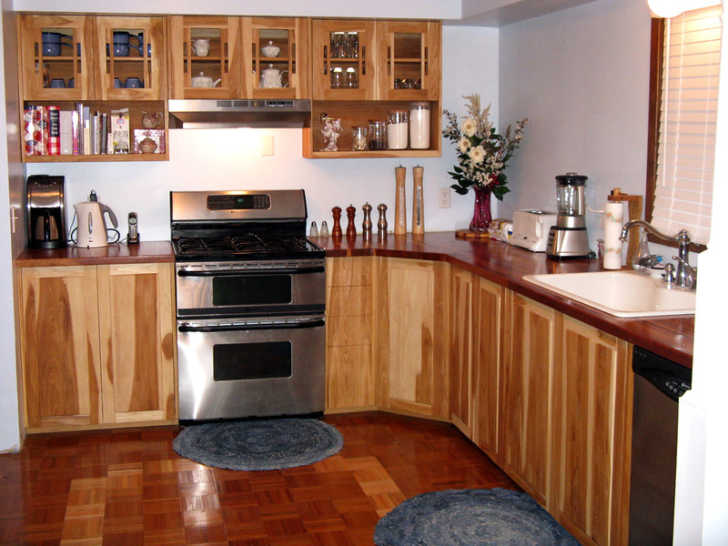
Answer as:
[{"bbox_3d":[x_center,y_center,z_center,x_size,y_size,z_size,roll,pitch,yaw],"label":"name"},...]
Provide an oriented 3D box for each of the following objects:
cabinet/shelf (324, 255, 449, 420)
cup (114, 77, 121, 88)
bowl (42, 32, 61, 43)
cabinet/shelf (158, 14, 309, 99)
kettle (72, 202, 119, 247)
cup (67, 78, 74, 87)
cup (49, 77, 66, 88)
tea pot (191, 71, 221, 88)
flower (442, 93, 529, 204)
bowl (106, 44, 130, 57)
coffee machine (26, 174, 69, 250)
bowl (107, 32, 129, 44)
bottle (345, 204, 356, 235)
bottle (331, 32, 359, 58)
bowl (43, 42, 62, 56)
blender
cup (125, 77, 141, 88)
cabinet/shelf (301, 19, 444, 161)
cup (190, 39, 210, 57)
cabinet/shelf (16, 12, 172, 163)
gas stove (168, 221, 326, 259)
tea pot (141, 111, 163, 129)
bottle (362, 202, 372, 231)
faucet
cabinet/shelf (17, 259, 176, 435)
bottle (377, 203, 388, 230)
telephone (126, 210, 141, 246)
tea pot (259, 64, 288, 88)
[{"bbox_3d":[0.081,0.372,3.884,0.915,1.247,0.976,-1,2,-9],"label":"cabinet/shelf"},{"bbox_3d":[-1.499,-1.162,3.581,0.037,0.064,0.047,-3,11,-4],"label":"cup"},{"bbox_3d":[-1.862,-1.407,3.502,0.071,0.040,0.070,1,11,0],"label":"bowl"},{"bbox_3d":[-0.752,-1.322,3.757,0.926,0.490,0.278,3,10,8],"label":"cabinet/shelf"},{"bbox_3d":[-1.675,-0.309,3.684,0.292,0.257,0.182,-5,14,-43],"label":"kettle"},{"bbox_3d":[-1.775,-1.153,3.556,0.031,0.063,0.064,-8,12,-28],"label":"cup"},{"bbox_3d":[-1.850,-1.145,3.546,0.072,0.062,0.070,1,6,0],"label":"cup"},{"bbox_3d":[-0.976,-1.190,3.631,0.161,0.067,0.096,9,14,35],"label":"tea pot"},{"bbox_3d":[0.960,-0.727,4.062,0.514,0.605,0.497,15,19,31],"label":"flower"},{"bbox_3d":[-1.481,-1.349,3.552,0.097,0.061,0.083,-5,23,-15],"label":"bowl"},{"bbox_3d":[-1.952,-0.368,3.604,0.224,0.430,0.179,-5,11,-15],"label":"coffee machine"},{"bbox_3d":[-1.468,-1.421,3.551,0.087,0.055,0.062,-1,6,-22],"label":"bowl"},{"bbox_3d":[-0.090,-0.362,4.142,0.070,0.210,0.189,-3,11,-1],"label":"bottle"},{"bbox_3d":[-0.129,-1.457,3.739,0.190,0.147,0.023,0,1,-10],"label":"bottle"},{"bbox_3d":[-1.864,-1.338,3.514,0.084,0.055,0.080,0,15,0],"label":"bowl"},{"bbox_3d":[1.124,-0.304,3.181,0.245,0.444,0.164,-2,11,4],"label":"blender"},{"bbox_3d":[-1.409,-1.161,3.584,0.076,0.048,0.072,2,17,-1],"label":"cup"},{"bbox_3d":[0.153,-1.259,3.980,0.959,0.834,0.307,10,27,26],"label":"cabinet/shelf"},{"bbox_3d":[-1.001,-1.386,3.610,0.126,0.081,0.074,0,17,-2],"label":"cup"},{"bbox_3d":[-1.672,-1.153,3.571,0.992,0.991,0.301,-1,8,-13],"label":"cabinet/shelf"},{"bbox_3d":[-0.751,-0.210,3.707,0.877,0.208,0.688,-5,11,-16],"label":"gas stove"},{"bbox_3d":[-1.376,-1.002,3.846,0.150,0.098,0.096,-5,8,-43],"label":"tea pot"},{"bbox_3d":[0.028,-0.391,4.213,0.071,0.216,0.171,-2,11,2],"label":"bottle"},{"bbox_3d":[1.253,-0.087,2.491,0.195,0.276,0.358,6,-1,-35],"label":"faucet"},{"bbox_3d":[-1.583,0.393,3.406,1.098,1.133,0.572,-1,5,-15],"label":"cabinet/shelf"},{"bbox_3d":[0.141,-0.395,4.210,0.073,0.195,0.206,-2,11,2],"label":"bottle"},{"bbox_3d":[-1.542,-0.301,3.921,0.086,0.203,0.185,-6,11,-20],"label":"telephone"},{"bbox_3d":[-0.586,-1.248,3.744,0.193,0.166,0.127,-1,9,-12],"label":"tea pot"}]
